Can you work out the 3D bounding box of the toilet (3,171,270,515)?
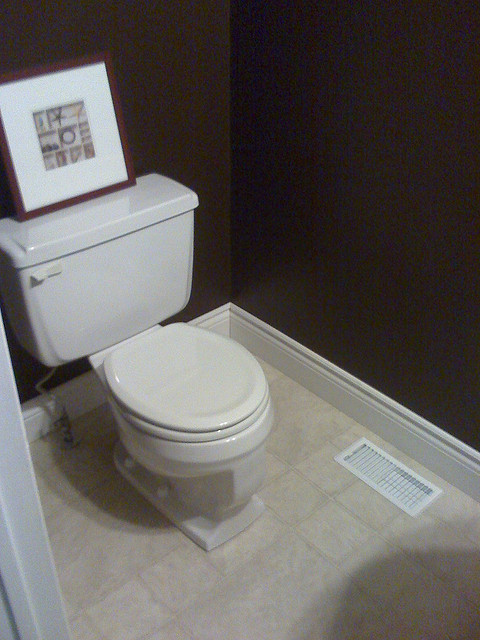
[{"bbox_3d":[-0.281,0.066,1.282,0.456,0.670,0.617,-29,48,-34],"label":"toilet"}]
